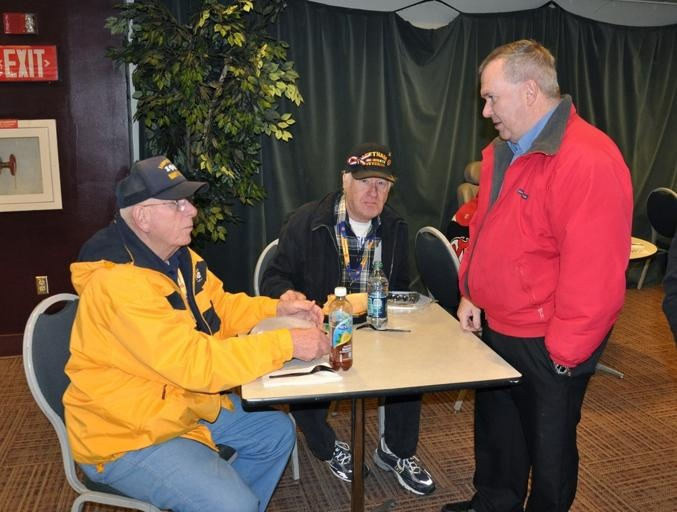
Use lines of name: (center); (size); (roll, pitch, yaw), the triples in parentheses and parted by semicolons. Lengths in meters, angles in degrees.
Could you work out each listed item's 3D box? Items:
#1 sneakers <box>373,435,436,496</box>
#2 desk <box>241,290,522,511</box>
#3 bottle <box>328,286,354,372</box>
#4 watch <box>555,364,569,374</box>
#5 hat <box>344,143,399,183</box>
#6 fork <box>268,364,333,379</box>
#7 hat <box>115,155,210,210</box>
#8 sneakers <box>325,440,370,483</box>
sneakers: (0.367, 1.184, 3.208); (0.374, 0.170, 0.158); (28, 23, 32)
desk: (0.170, 0.439, 2.590); (0.864, 0.933, 0.903); (-4, 24, -9)
bottle: (0.005, 0.286, 2.338); (0.092, 0.304, 0.213); (-3, 14, 1)
watch: (0.939, 0.481, 2.414); (0.038, 0.045, 0.052); (3, -16, -9)
hat: (0.166, -0.499, 3.066); (0.267, 0.211, 0.224); (-4, 14, -2)
fork: (-0.153, 0.460, 2.257); (0.163, 0.021, 0.028); (-8, 37, -2)
hat: (-0.757, -0.318, 2.435); (0.304, 0.162, 0.208); (-4, 11, 1)
sneakers: (0.022, 1.139, 3.210); (0.161, 0.139, 0.312); (-15, 18, -32)
